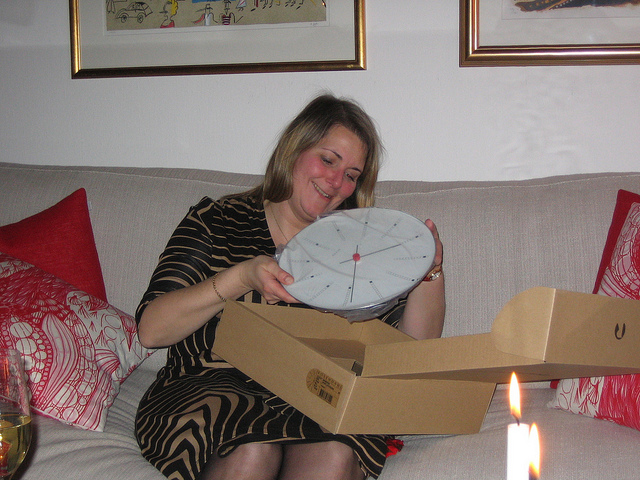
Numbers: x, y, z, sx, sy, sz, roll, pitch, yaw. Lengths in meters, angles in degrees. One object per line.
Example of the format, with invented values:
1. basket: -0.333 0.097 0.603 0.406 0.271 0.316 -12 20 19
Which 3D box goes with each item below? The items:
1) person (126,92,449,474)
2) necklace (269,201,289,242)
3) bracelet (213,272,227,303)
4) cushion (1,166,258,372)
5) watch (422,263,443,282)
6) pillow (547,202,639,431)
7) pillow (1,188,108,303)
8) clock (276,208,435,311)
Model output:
1. person: -0.094 0.058 1.697 0.905 0.966 0.870 -5 14 -33
2. necklace: -0.134 -0.057 1.867 0.007 0.022 0.151 -18 68 -25
3. bracelet: -0.263 0.134 1.556 0.013 0.059 0.049 -7 5 3
4. cushion: -0.707 0.131 2.197 0.920 0.665 0.270 11 -4 7
5. watch: 0.351 0.106 1.776 0.048 0.025 0.064 18 53 -1
6. pillow: 0.798 0.225 1.647 0.120 0.497 0.386 4 -16 47
7. pillow: -0.855 0.048 1.893 0.316 0.348 0.103 -8 -4 -12
8. clock: 0.095 0.037 1.525 0.407 0.201 0.340 2 12 -5
